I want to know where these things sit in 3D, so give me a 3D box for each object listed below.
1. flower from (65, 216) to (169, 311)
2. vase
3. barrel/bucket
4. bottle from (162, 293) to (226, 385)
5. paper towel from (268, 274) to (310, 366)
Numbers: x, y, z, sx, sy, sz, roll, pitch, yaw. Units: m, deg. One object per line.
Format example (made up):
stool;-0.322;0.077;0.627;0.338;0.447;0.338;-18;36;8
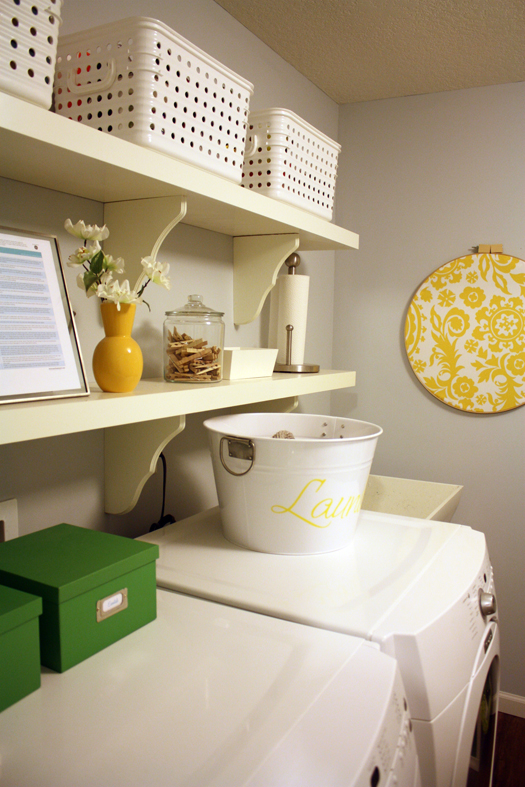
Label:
flower;-0.247;-0.194;0.814;0.084;0.067;0.113;13;3;17
vase;-0.221;-0.071;0.816;0.070;0.140;0.059;0;2;-15
barrel/bucket;0.071;0.184;1.118;0.311;0.224;0.331;3;6;0
bottle;-0.140;-0.114;1.095;0.114;0.176;0.131;4;6;25
paper towel;0.056;-0.215;1.590;0.087;0.226;0.082;13;18;41
